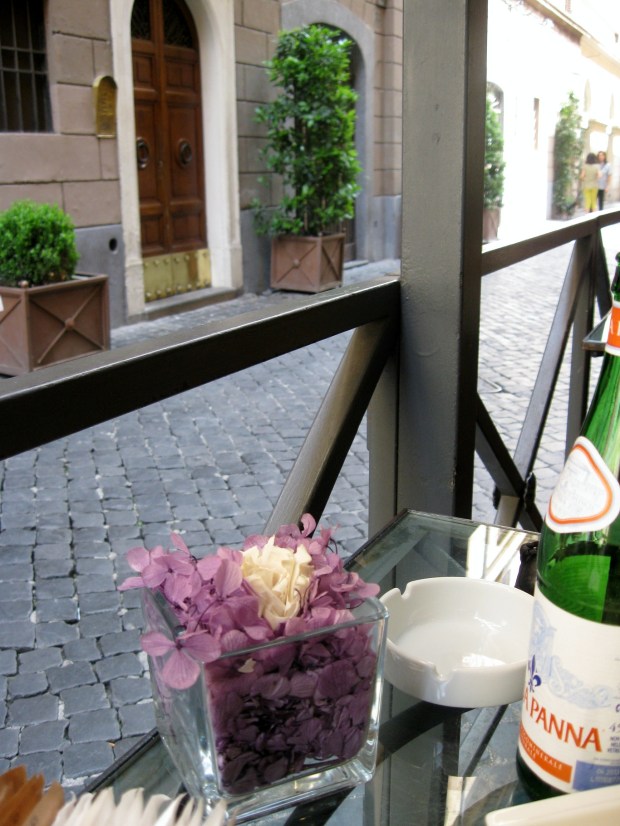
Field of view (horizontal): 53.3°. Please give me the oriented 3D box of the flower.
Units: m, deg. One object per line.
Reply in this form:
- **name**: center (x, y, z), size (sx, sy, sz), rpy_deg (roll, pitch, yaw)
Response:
- **flower**: center (-0.024, 0.147, 0.470), size (0.178, 0.219, 0.152), rpy_deg (-10, 18, -31)

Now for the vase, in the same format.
- **vase**: center (-0.033, 0.194, 0.478), size (0.149, 0.172, 0.161), rpy_deg (-9, 16, -28)

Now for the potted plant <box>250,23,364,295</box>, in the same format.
- **potted plant**: center (-0.045, -3.139, 7.734), size (1.115, 3.161, 0.836), rpy_deg (5, 14, 22)
